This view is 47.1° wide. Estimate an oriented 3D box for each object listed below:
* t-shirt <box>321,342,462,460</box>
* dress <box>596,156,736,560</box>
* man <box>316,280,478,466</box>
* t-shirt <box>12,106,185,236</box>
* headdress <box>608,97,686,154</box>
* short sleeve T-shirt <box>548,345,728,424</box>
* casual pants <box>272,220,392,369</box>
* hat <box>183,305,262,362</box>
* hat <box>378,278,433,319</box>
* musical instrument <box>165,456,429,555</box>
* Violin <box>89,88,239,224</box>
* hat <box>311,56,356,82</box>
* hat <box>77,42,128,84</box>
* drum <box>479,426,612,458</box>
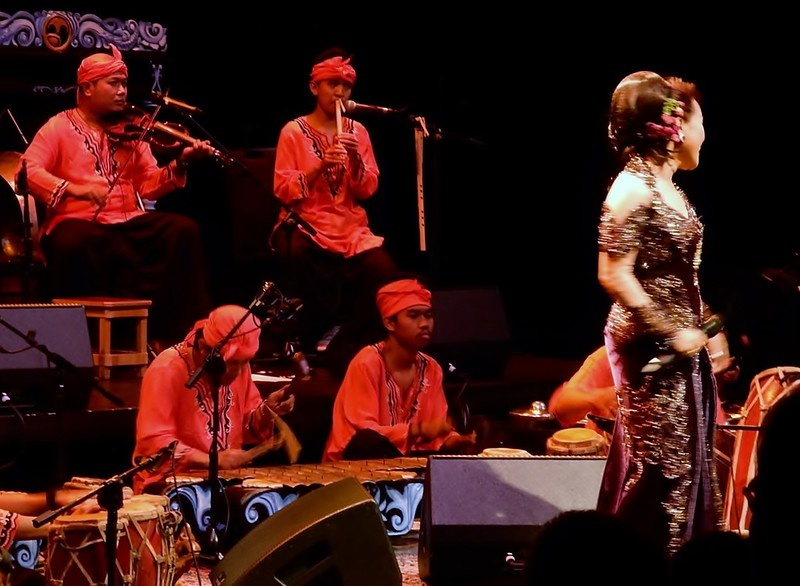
[{"bbox_3d":[0.002,0.646,5.405,0.801,0.669,0.662,4,-8,-27],"label":"t-shirt"},{"bbox_3d":[0.964,0.210,3.349,0.400,1.373,0.559,-1,14,-29],"label":"dress"},{"bbox_3d":[0.009,0.529,5.420,0.942,1.114,0.909,4,-3,-37],"label":"man"},{"bbox_3d":[-2.115,-0.915,6.415,1.382,0.469,1.131,3,-10,-22],"label":"t-shirt"},{"bbox_3d":[0.897,-0.610,3.339,0.246,0.130,0.184,2,2,19],"label":"headdress"},{"bbox_3d":[1.005,0.391,3.838,0.416,0.145,0.376,-20,37,28],"label":"short sleeve T-shirt"},{"bbox_3d":[-0.513,0.027,6.263,0.783,0.987,0.345,24,-24,-13],"label":"casual pants"},{"bbox_3d":[-0.881,0.207,4.982,0.433,0.284,0.298,10,2,12],"label":"hat"},{"bbox_3d":[0.026,0.023,5.458,0.272,0.156,0.239,-8,1,28],"label":"hat"},{"bbox_3d":[-0.481,1.038,4.568,1.337,0.405,0.461,2,12,-19],"label":"musical instrument"},{"bbox_3d":[-1.548,-0.960,5.880,1.263,0.495,0.199,24,15,9],"label":"Violin"},{"bbox_3d":[-0.442,-1.502,6.167,0.286,0.180,0.130,4,12,-8],"label":"hat"},{"bbox_3d":[-1.930,-1.479,6.017,0.364,0.201,0.261,-1,6,16],"label":"hat"},{"bbox_3d":[0.750,0.722,4.416,0.405,0.123,0.231,-2,-2,-13],"label":"drum"}]
